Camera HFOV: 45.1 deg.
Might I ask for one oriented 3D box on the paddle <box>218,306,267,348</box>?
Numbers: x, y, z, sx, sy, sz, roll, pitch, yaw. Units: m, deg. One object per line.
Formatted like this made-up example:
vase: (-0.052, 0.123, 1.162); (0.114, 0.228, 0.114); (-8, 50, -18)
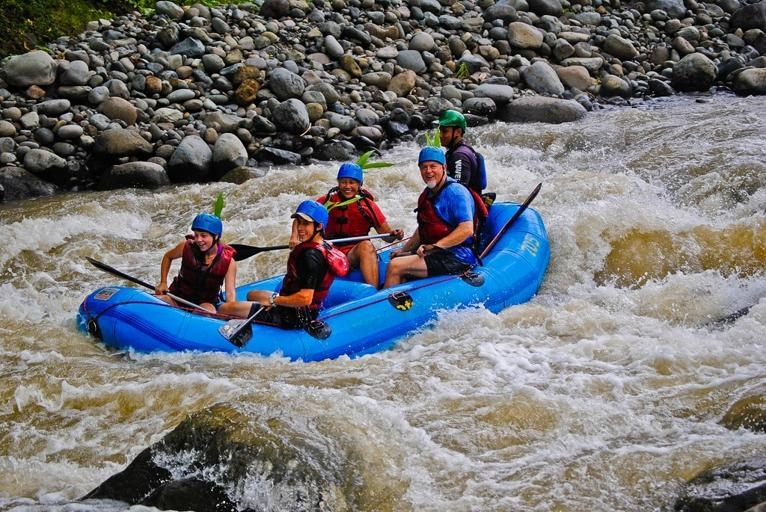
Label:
paddle: (-1.811, 0.959, 11.802); (0.346, 0.202, 0.610); (26, 47, 18)

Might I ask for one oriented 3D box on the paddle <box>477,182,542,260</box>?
paddle: (1.851, -0.459, 13.522); (0.203, 0.095, 1.825); (41, 68, 17)

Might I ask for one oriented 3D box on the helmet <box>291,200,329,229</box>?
helmet: (-0.864, -0.523, 11.570); (0.429, 0.207, 0.304); (26, 0, -38)

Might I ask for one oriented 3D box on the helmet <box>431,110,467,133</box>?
helmet: (1.002, -1.940, 13.294); (0.530, 0.246, 0.384); (9, 5, -2)

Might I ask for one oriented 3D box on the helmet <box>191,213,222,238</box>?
helmet: (-2.313, -0.407, 12.006); (0.290, 0.291, 0.360); (5, 17, 43)

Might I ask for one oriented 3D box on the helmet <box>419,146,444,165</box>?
helmet: (0.683, -1.353, 12.556); (0.281, 0.167, 0.274); (1, 9, 8)

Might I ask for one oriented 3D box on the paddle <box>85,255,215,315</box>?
paddle: (-3.216, 0.430, 12.679); (0.156, 0.218, 2.684); (13, -12, 20)

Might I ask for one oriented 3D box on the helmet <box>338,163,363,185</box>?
helmet: (-0.468, -1.151, 12.863); (0.287, 0.239, 0.311); (3, 15, -26)

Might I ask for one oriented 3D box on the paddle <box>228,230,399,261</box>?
paddle: (-0.880, -0.125, 12.821); (1.550, 0.115, 0.267); (-8, 22, -9)
